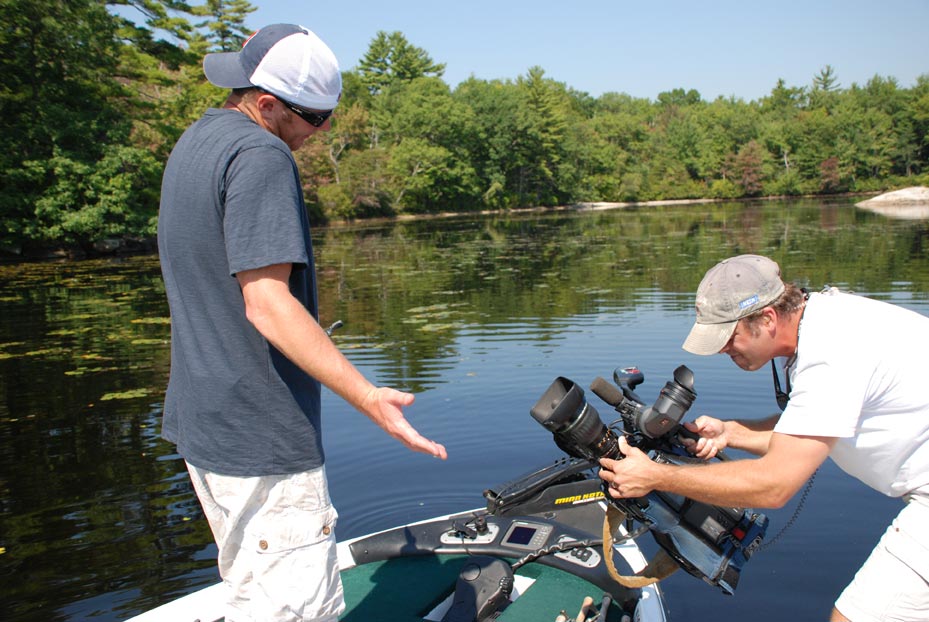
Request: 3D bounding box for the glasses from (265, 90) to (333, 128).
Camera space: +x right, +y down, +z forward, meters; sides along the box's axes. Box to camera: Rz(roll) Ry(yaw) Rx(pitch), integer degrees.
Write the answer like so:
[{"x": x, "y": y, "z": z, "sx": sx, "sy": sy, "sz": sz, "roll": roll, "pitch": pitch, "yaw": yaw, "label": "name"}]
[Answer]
[{"x": -0.758, "y": -0.927, "z": 3.548, "sx": 0.174, "sy": 0.045, "sz": 0.168, "roll": 28, "pitch": 13, "yaw": -2, "label": "glasses"}]
